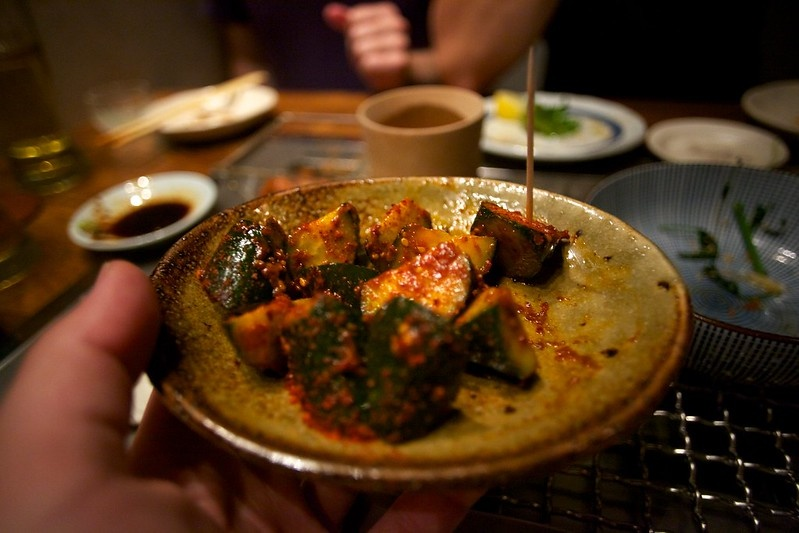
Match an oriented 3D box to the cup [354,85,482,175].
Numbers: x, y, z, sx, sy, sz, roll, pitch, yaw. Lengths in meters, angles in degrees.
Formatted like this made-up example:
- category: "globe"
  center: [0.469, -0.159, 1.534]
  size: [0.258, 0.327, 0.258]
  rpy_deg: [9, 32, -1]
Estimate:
- category: "cup"
  center: [0.087, -0.500, 2.484]
  size: [0.467, 0.236, 0.300]
  rpy_deg: [-4, 47, -3]
